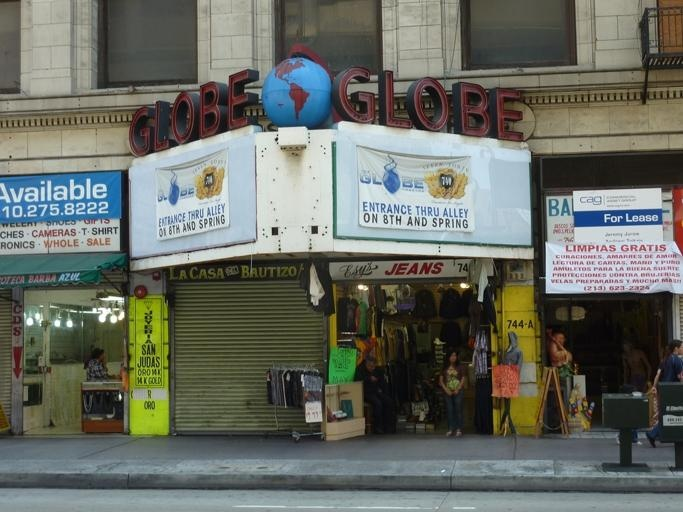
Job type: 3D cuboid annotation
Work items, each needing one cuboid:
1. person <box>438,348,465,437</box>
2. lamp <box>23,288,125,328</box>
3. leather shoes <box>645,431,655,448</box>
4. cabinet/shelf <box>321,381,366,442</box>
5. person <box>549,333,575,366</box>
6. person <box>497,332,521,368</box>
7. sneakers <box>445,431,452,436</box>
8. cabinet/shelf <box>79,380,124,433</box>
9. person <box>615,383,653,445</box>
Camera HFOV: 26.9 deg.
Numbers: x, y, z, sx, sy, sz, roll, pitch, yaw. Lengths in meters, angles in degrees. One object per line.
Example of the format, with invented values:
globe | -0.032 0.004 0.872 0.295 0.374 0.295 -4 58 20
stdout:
person | 2.637 3.268 33.661 0.550 1.958 1.054 -2 -2 4
lamp | -6.355 1.279 35.140 2.156 0.908 0.416 -2 -2 -7
leather shoes | 6.641 3.942 30.808 0.165 0.463 0.155 -3 0 6
cabinet/shelf | 0.047 3.683 33.363 0.354 1.103 1.155 -6 -8 26
person | 5.101 2.230 33.390 0.540 0.802 0.648 -2 -2 8
person | 3.910 2.220 33.058 0.341 1.038 0.558 20 -21 -39
sneakers | 2.528 4.208 33.508 0.062 0.091 0.194 -3 -15 13
cabinet/shelf | -5.655 3.709 34.677 1.136 1.367 0.725 0 -1 3
person | 6.077 3.403 29.817 0.642 1.286 1.294 0 -4 9
